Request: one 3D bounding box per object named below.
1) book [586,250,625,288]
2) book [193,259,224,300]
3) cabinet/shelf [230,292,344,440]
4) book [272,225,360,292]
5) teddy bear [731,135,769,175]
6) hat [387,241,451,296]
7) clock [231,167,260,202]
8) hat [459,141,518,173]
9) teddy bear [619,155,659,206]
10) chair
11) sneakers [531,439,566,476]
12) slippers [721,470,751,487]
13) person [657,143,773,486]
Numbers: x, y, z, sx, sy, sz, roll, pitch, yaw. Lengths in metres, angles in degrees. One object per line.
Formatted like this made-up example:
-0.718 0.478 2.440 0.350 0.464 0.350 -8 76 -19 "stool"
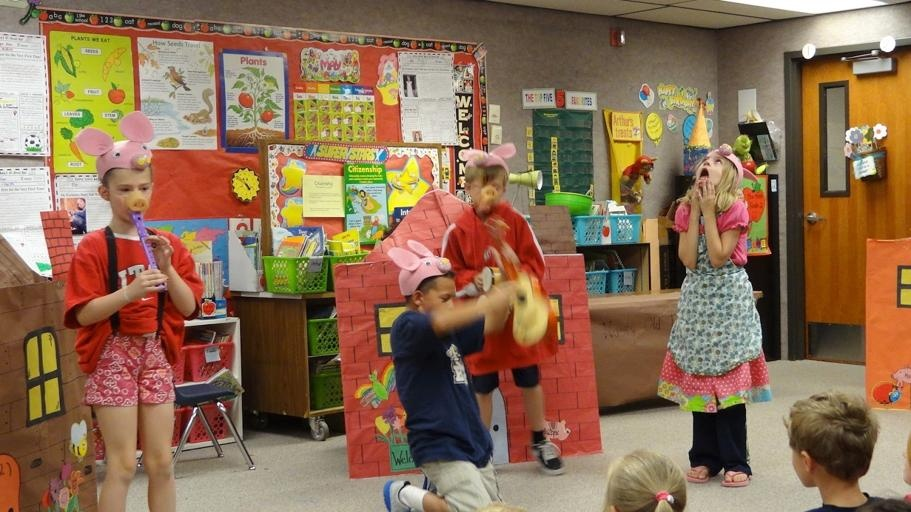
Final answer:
1.537 0.100 7.073 0.456 0.296 0.322 1 -5 -28 "book"
-1.817 0.176 5.131 0.208 0.326 0.355 0 3 6 "book"
-1.310 0.921 5.996 1.076 1.068 0.982 -3 -5 8 "cabinet/shelf"
-1.119 0.056 5.569 0.476 0.283 0.687 -4 -5 42 "book"
3.100 -1.044 7.422 0.354 0.495 0.320 -2 -8 2 "teddy bear"
-0.174 0.064 3.667 0.269 0.292 0.254 1 7 27 "hat"
-1.792 -0.612 5.929 0.223 0.290 0.038 -6 7 -32 "clock"
0.225 -0.661 4.662 0.306 0.186 0.301 -3 7 -8 "hat"
1.946 -0.803 7.450 0.428 0.586 0.383 9 14 30 "teddy bear"
-1.885 1.148 5.195 0.644 0.722 0.580 -3 -2 -15 "chair"
0.652 1.379 4.867 0.121 0.125 0.303 -17 29 -22 "sneakers"
1.870 1.460 4.579 0.221 0.100 0.089 -3 7 -9 "slippers"
1.735 0.380 4.652 0.683 2.229 0.425 0 7 22 "person"
